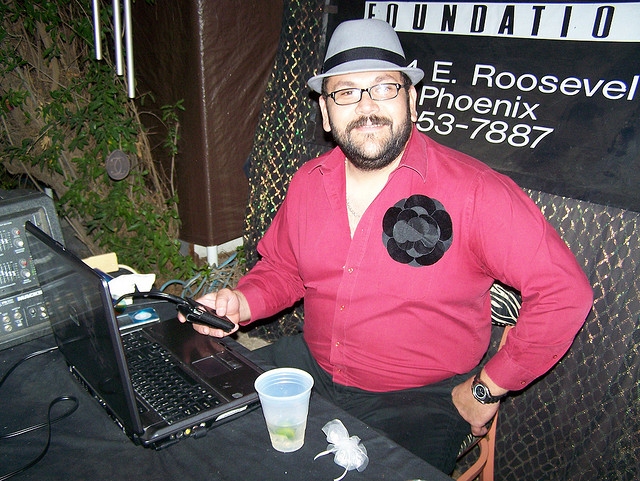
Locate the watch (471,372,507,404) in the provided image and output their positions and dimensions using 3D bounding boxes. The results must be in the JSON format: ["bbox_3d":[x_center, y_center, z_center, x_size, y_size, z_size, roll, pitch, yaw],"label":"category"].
[{"bbox_3d":[0.633,0.562,1.668,0.087,0.099,0.100,-12,-21,-5],"label":"watch"}]

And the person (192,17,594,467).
[{"bbox_3d":[0.336,-0.046,1.704,1.364,1.494,0.740,13,25,23],"label":"person"}]

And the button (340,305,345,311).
[{"bbox_3d":[0.091,0.270,1.789,0.021,0.026,0.007,17,27,30],"label":"button"}]

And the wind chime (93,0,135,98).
[{"bbox_3d":[-0.850,-0.799,1.817,0.158,0.373,0.311,-7,25,-21],"label":"wind chime"}]

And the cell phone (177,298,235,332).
[{"bbox_3d":[-0.404,0.267,1.578,0.187,0.047,0.105,22,17,-25],"label":"cell phone"}]

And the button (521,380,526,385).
[{"bbox_3d":[0.779,0.539,1.675,0.016,0.017,0.004,11,8,18],"label":"button"}]

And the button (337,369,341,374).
[{"bbox_3d":[0.081,0.550,1.854,0.018,0.019,0.004,-3,-6,10],"label":"button"}]

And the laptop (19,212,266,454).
[{"bbox_3d":[-0.565,0.230,1.475,0.699,0.544,0.567,13,19,35],"label":"laptop"}]

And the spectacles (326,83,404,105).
[{"bbox_3d":[0.184,-0.607,1.794,0.294,0.101,0.063,6,23,7],"label":"spectacles"}]

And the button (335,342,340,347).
[{"bbox_3d":[0.073,0.428,1.830,0.020,0.023,0.003,12,24,20],"label":"button"}]

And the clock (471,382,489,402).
[{"bbox_3d":[0.610,0.573,1.663,0.062,0.058,0.032,13,25,23],"label":"clock"}]

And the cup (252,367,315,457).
[{"bbox_3d":[-0.098,0.494,1.282,0.176,0.199,0.182,1,6,0],"label":"cup"}]
